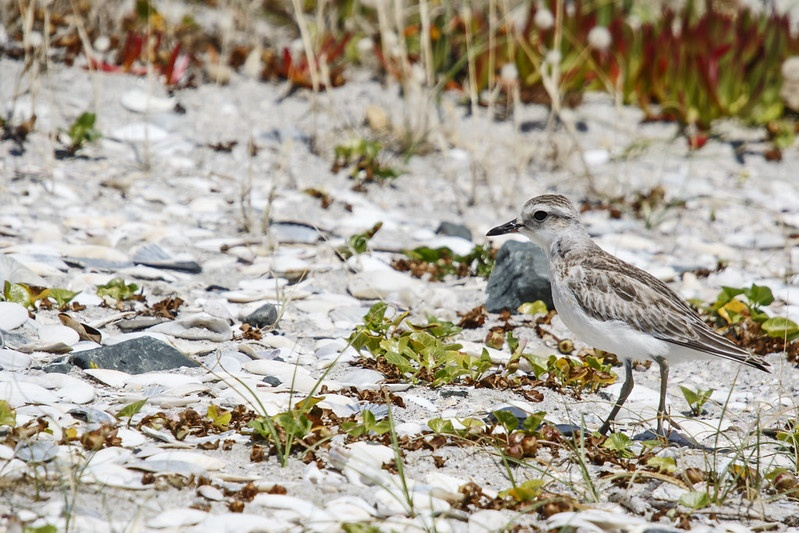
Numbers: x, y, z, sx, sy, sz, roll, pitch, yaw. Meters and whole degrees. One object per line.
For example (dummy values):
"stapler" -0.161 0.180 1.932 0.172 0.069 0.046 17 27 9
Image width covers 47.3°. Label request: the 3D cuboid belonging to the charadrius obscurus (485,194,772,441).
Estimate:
"charadrius obscurus" 1.497 0.217 6.313 0.760 1.083 1.719 -13 28 -40
